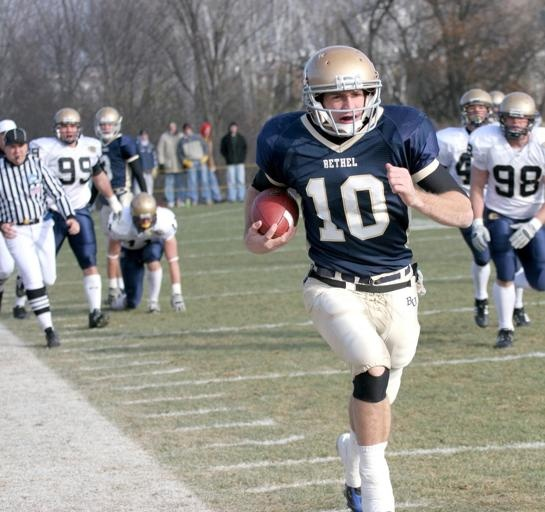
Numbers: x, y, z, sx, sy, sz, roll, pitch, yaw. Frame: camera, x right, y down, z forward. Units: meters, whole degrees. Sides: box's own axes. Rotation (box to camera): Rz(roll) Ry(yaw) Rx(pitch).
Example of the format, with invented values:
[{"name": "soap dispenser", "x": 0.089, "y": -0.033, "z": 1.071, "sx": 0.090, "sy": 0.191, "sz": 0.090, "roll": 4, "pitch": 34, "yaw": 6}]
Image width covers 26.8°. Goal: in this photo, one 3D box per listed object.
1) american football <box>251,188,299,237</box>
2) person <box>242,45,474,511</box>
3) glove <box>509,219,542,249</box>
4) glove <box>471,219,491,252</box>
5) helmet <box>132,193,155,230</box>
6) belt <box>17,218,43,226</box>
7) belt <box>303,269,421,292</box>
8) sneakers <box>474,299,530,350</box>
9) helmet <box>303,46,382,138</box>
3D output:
[{"name": "american football", "x": 0.039, "y": -0.163, "z": 5.918, "sx": 0.243, "sy": 0.254, "sz": 0.269, "roll": 6, "pitch": -13, "yaw": 7}, {"name": "person", "x": 0.392, "y": 0.081, "z": 5.766, "sx": 0.951, "sy": 2.201, "sz": 0.795, "roll": 8, "pitch": 14, "yaw": 36}, {"name": "glove", "x": 1.742, "y": -0.143, "z": 7.911, "sx": 0.255, "sy": 0.141, "sz": 0.075, "roll": -48, "pitch": 6, "yaw": -33}, {"name": "glove", "x": 1.507, "y": -0.155, "z": 8.127, "sx": 0.092, "sy": 0.233, "sz": 0.124, "roll": -12, "pitch": -31, "yaw": -6}, {"name": "helmet", "x": -0.978, "y": -0.315, "z": 8.526, "sx": 0.196, "sy": 0.226, "sz": 0.266, "roll": -2, "pitch": 44, "yaw": -12}, {"name": "belt", "x": -1.723, "y": -0.234, "z": 8.048, "sx": 0.168, "sy": 0.043, "sz": 0.031, "roll": -6, "pitch": 13, "yaw": -27}, {"name": "belt", "x": 0.499, "y": 0.126, "z": 5.715, "sx": 0.264, "sy": 0.094, "sz": 0.246, "roll": -8, "pitch": 6, "yaw": -30}, {"name": "sneakers", "x": 1.726, "y": 0.507, "z": 8.419, "sx": 0.188, "sy": 0.256, "sz": 0.610, "roll": -3, "pitch": 22, "yaw": 0}, {"name": "helmet", "x": 0.303, "y": -0.814, "z": 5.747, "sx": 0.355, "sy": 0.385, "sz": 0.460, "roll": -5, "pitch": 27, "yaw": -7}]
